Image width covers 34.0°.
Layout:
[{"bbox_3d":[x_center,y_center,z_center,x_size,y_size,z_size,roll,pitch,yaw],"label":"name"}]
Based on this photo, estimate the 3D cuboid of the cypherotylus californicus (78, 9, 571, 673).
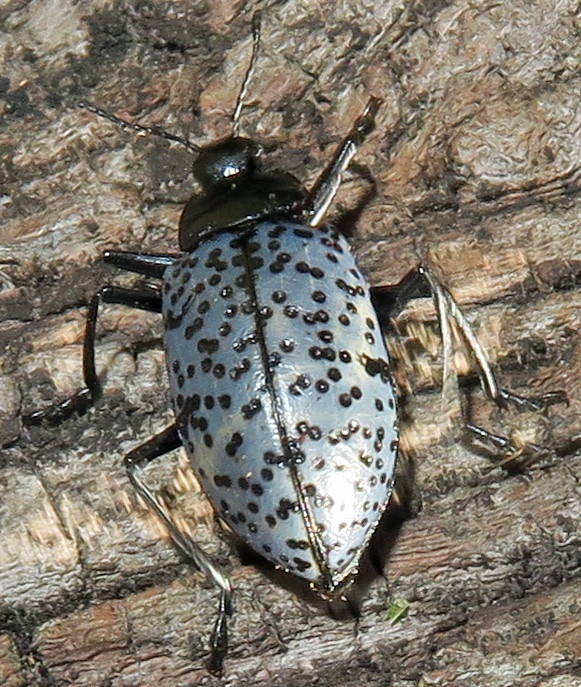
[{"bbox_3d":[0.000,-0.215,3.356,1.324,2.191,0.702,-7,-12,-8],"label":"cypherotylus californicus"}]
